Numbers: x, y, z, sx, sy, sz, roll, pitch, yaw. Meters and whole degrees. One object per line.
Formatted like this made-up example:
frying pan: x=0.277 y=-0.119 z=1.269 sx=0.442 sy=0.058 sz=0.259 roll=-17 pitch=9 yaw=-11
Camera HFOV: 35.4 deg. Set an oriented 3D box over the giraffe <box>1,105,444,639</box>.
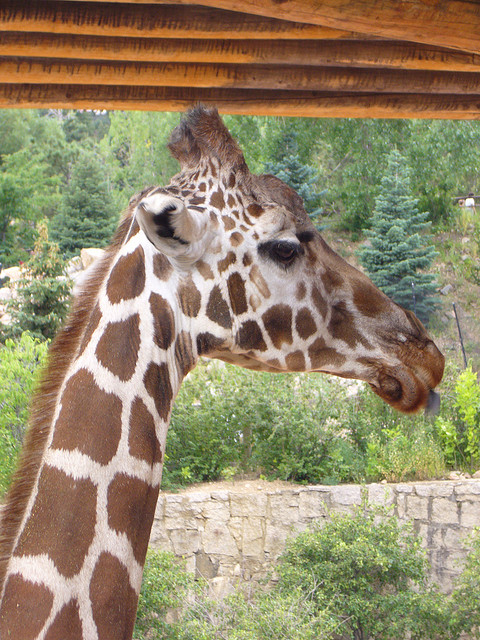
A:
giraffe: x=-0.115 y=0.075 z=1.914 sx=0.706 sy=0.907 sz=1.347 roll=22 pitch=38 yaw=35
